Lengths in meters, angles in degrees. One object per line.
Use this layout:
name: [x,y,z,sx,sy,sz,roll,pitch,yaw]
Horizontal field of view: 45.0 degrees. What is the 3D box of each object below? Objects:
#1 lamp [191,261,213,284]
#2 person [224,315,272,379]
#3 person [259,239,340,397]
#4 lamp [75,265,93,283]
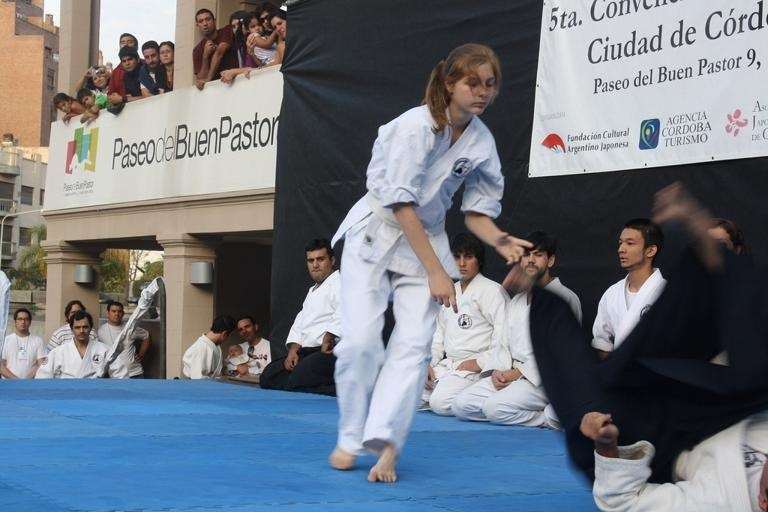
lamp: [-2.494,0.247,12.798,0.284,0.319,0.284,4,-6,-41]
person: [-1.744,1.161,11.735,0.683,1.008,0.559,-7,-10,29]
person: [-0.706,0.583,9.071,0.332,1.486,1.065,7,-6,-41]
lamp: [-4.862,0.298,15.075,0.264,0.316,0.272,2,-4,-20]
